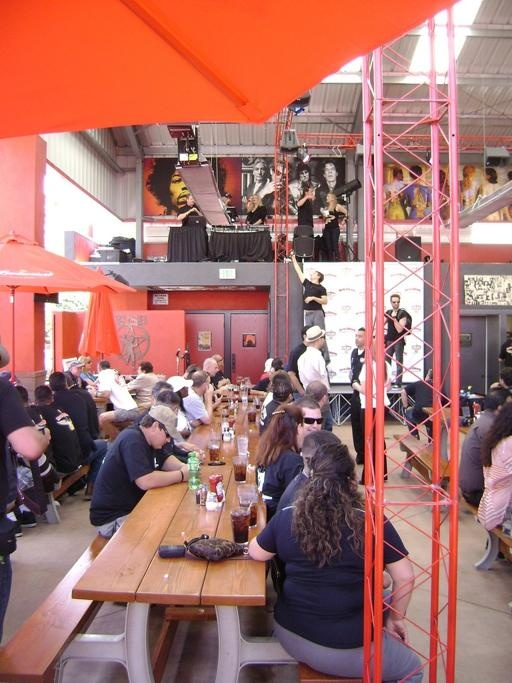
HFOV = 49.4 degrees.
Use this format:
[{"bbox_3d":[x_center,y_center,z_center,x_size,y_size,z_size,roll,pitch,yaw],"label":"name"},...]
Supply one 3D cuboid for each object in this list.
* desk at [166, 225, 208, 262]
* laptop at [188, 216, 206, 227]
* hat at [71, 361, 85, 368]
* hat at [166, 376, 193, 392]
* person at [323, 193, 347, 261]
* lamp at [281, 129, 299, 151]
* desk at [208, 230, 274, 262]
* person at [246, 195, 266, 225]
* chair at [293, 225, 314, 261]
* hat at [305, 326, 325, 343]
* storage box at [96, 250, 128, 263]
[{"bbox_3d":[-1.417,-2.005,12.001,1.109,1.046,0.741,0,0,-4],"label":"desk"},{"bbox_3d":[-1.240,-2.541,11.743,0.318,0.208,0.228,-1,11,-10],"label":"laptop"},{"bbox_3d":[-2.484,0.325,7.728,0.136,0.068,0.206,0,0,-19],"label":"hat"},{"bbox_3d":[-0.827,0.457,6.032,0.238,0.128,0.174,-14,9,-14],"label":"hat"},{"bbox_3d":[1.553,-2.271,11.074,0.478,1.391,1.260,0,-3,7],"label":"person"},{"bbox_3d":[0.508,-3.121,8.566,0.277,0.362,0.316,0,-3,4],"label":"lamp"},{"bbox_3d":[-0.328,-2.024,11.723,0.891,0.428,0.861,-1,2,-12],"label":"desk"},{"bbox_3d":[-0.011,-2.840,12.080,0.393,0.742,0.442,0,-3,-7],"label":"person"},{"bbox_3d":[0.821,-1.912,10.721,0.509,0.562,0.532,0,9,4],"label":"chair"},{"bbox_3d":[0.650,-0.077,6.257,0.203,0.185,0.272,0,-3,4],"label":"hat"},{"bbox_3d":[-3.192,-1.898,12.341,0.597,0.327,0.441,0,1,10],"label":"storage box"}]
